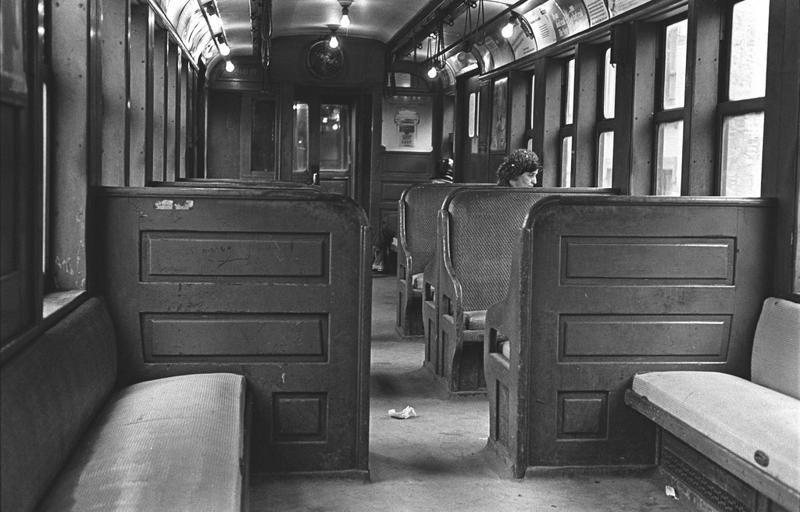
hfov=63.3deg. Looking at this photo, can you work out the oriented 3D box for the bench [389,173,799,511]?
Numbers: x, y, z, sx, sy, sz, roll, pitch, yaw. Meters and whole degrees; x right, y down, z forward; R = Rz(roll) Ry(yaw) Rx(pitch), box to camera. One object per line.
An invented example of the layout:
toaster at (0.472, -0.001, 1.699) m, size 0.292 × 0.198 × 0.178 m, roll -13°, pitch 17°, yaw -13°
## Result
bench at (1.358, 0.429, 5.450) m, size 1.655 × 1.926 × 2.501 m, roll -1°, pitch 7°, yaw -14°
